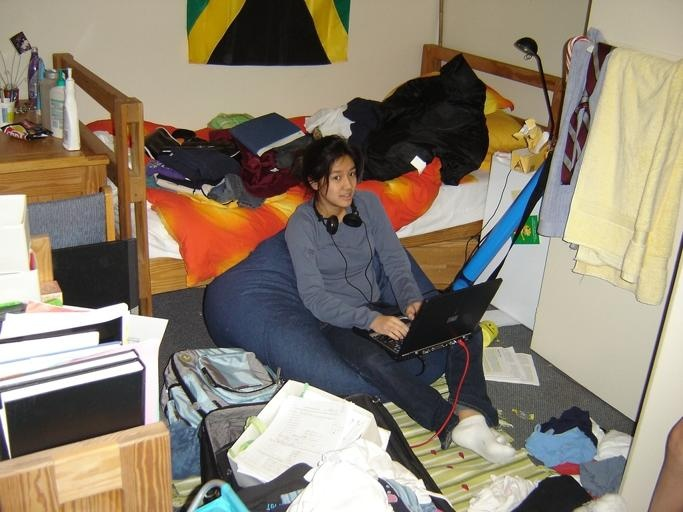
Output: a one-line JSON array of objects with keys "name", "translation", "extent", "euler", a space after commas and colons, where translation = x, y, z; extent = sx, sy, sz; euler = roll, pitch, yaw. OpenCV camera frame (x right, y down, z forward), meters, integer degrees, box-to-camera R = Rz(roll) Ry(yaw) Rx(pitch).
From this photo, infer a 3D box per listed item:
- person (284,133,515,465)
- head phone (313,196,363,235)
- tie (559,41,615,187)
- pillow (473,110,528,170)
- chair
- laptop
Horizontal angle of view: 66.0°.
[{"name": "person", "translation": [0.255, 0.180, 2.395], "extent": [0.583, 0.959, 1.368], "euler": [-23, 48, -27]}, {"name": "head phone", "translation": [-0.027, -0.186, 2.420], "extent": [0.153, 0.076, 0.202], "euler": [-4, 59, -27]}, {"name": "tie", "translation": [1.019, -0.599, 2.189], "extent": [0.130, 0.601, 0.057], "euler": [13, 2, 14]}, {"name": "pillow", "translation": [1.033, -0.781, 3.416], "extent": [0.283, 0.364, 0.105], "euler": [1, -18, 1]}, {"name": "chair", "translation": [-1.101, -0.174, 2.161], "extent": [0.434, 0.310, 0.263], "euler": [-9, 15, -34]}, {"name": "laptop", "translation": [0.395, 0.236, 2.196], "extent": [0.416, 0.324, 0.363], "euler": [-15, 33, -28]}]
